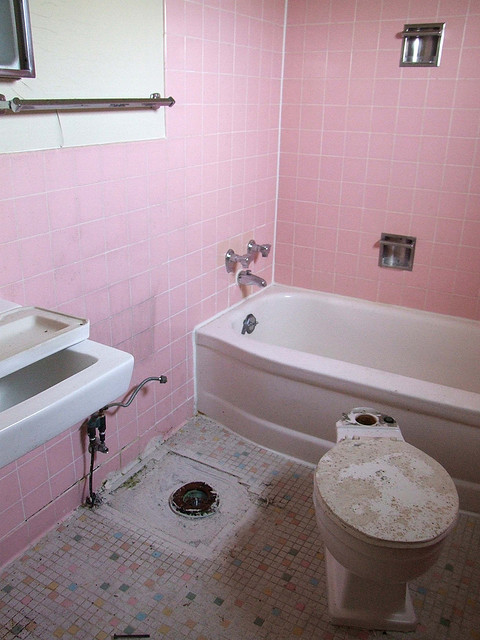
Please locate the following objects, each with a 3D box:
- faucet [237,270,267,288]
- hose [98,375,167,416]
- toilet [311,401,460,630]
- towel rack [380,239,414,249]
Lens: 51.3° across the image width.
[{"bbox_3d":[0.053,-0.206,2.482,0.145,0.065,0.042,19,59,33],"label":"faucet"},{"bbox_3d":[-0.403,0.283,1.859,0.078,0.084,0.296,17,28,30],"label":"hose"},{"bbox_3d":[0.359,0.496,1.445,0.297,0.336,0.669,-2,12,10],"label":"toilet"},{"bbox_3d":[0.760,-0.366,2.426,0.165,0.030,0.031,18,29,33],"label":"towel rack"}]
